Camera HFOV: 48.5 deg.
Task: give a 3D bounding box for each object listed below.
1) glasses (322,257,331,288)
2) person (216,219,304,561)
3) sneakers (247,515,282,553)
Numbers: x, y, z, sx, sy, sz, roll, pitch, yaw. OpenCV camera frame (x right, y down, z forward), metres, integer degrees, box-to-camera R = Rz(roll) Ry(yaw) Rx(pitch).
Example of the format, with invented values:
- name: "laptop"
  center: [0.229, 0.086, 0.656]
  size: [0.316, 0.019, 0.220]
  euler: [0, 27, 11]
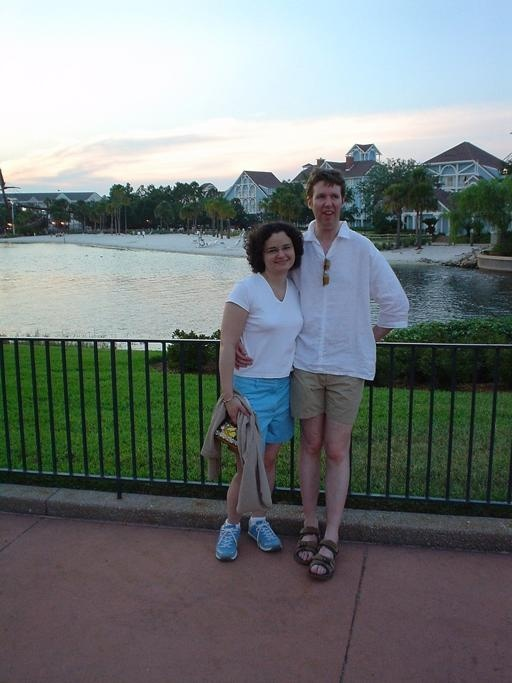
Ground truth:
- name: "glasses"
  center: [0.326, -0.327, 2.664]
  size: [0.035, 0.128, 0.024]
  euler: [1, 6, 16]
- name: "person"
  center: [0.030, 0.095, 2.698]
  size: [0.289, 1.321, 0.392]
  euler: [3, 6, 32]
- name: "sneakers"
  center: [0.041, 0.955, 2.841]
  size: [0.084, 0.094, 0.205]
  euler: [-7, 11, -31]
